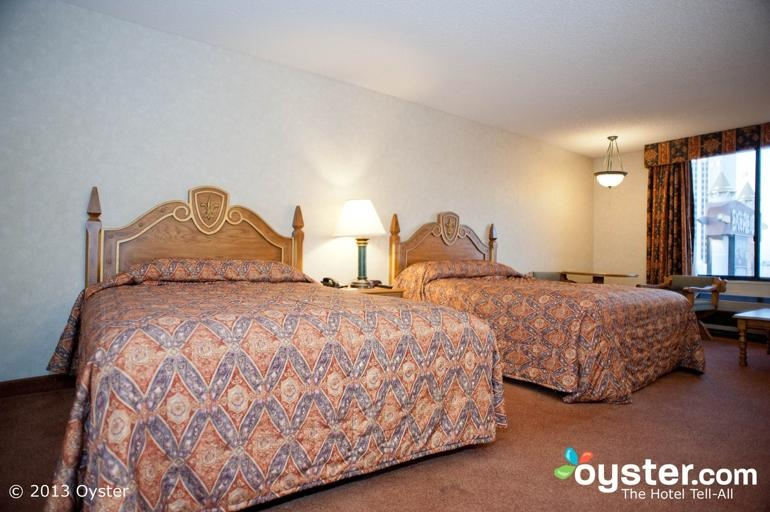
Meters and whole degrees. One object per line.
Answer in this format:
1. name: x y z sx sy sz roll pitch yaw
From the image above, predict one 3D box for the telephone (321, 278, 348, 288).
1. telephone: -0.576 0.306 5.832 0.360 0.141 0.112 -2 4 39
